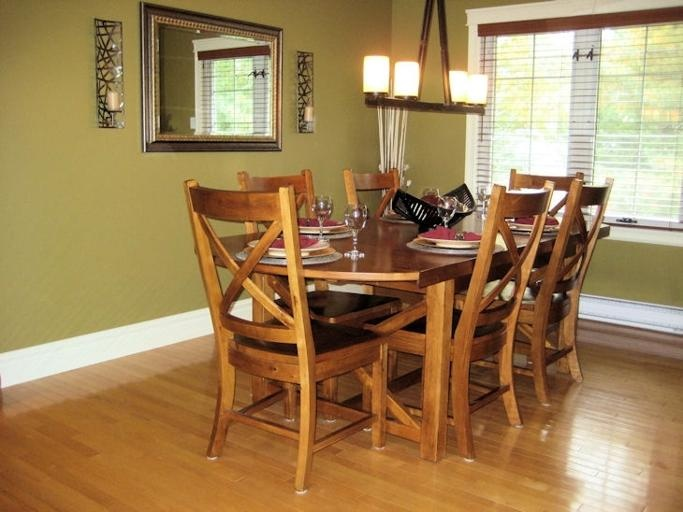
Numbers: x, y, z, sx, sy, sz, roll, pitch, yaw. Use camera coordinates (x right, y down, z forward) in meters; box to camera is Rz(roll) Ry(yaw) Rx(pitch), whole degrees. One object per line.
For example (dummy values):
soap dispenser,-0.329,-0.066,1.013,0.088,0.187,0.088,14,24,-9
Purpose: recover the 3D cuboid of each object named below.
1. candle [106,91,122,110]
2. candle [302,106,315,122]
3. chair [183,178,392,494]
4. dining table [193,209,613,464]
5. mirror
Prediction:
candle,-1.485,-1.017,3.520,0.065,0.131,0.098,7,15,24
candle,-0.286,-1.246,4.707,0.134,0.134,0.126,1,5,-9
chair,-0.269,0.310,2.425,0.747,1.289,0.549,10,17,34
dining table,0.131,0.160,2.584,2.079,0.957,1.099,-13,20,-42
mirror,-1.010,-1.358,4.025,0.063,1.048,1.453,5,7,44
